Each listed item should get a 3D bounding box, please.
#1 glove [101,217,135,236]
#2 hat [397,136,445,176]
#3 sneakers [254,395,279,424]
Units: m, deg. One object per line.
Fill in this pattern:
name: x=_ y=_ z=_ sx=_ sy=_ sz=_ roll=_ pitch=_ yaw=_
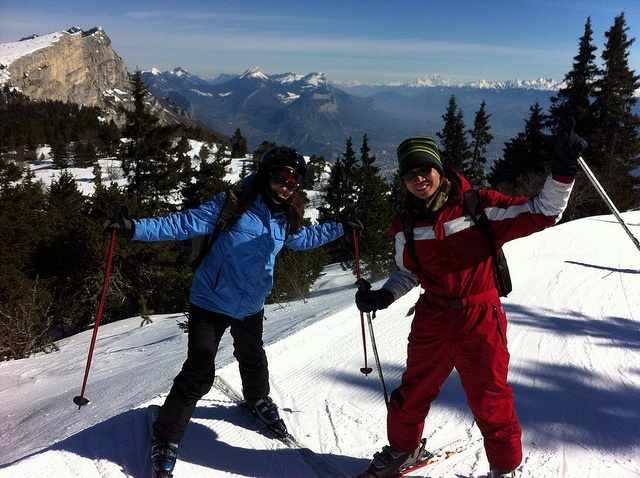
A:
glove: x=-2.641 y=-0.139 z=6.332 sx=0.347 sy=0.226 sz=0.269 roll=19 pitch=-5 yaw=17
hat: x=1.313 y=-1.029 z=6.177 sx=0.427 sy=0.481 sz=0.586 roll=-22 pitch=-18 yaw=25
sneakers: x=-0.788 y=2.529 z=7.073 sx=0.564 sy=0.271 sz=0.206 roll=11 pitch=23 yaw=41
